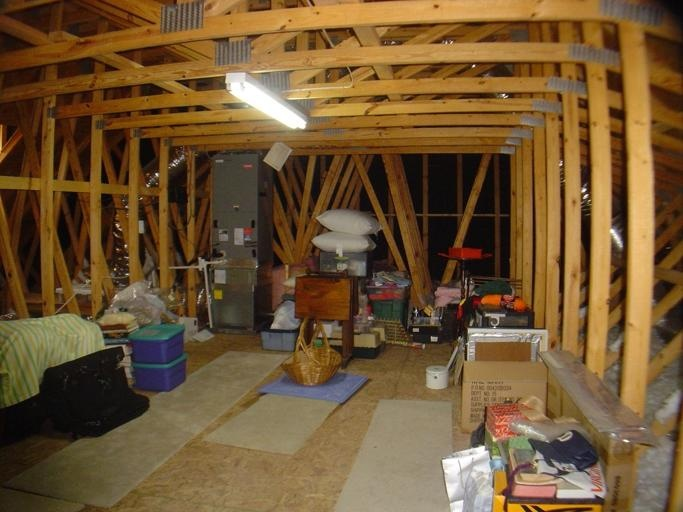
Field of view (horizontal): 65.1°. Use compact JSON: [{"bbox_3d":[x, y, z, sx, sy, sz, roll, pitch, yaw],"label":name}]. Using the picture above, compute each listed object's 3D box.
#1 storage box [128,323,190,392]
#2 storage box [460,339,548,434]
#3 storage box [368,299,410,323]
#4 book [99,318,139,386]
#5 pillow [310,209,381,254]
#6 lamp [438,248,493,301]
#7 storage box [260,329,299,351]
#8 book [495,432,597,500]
[{"bbox_3d":[-1.881,1.157,6.242,0.761,0.700,0.714,-1,-1,10],"label":"storage box"},{"bbox_3d":[1.489,1.134,5.325,1.218,0.968,0.799,-1,-4,12],"label":"storage box"},{"bbox_3d":[0.726,0.817,8.103,0.596,0.400,0.355,0,14,-5],"label":"storage box"},{"bbox_3d":[-2.556,1.034,6.169,0.610,0.668,0.247,-2,-5,-5],"label":"book"},{"bbox_3d":[0.075,-0.323,7.947,0.893,0.711,0.413,3,-33,9],"label":"pillow"},{"bbox_3d":[1.944,0.293,8.401,0.924,0.876,0.911,5,5,32],"label":"lamp"},{"bbox_3d":[-0.889,1.192,7.521,0.445,0.185,0.296,-1,-3,16],"label":"storage box"},{"bbox_3d":[1.411,1.423,3.629,0.515,0.125,0.452,-3,11,2],"label":"book"}]
